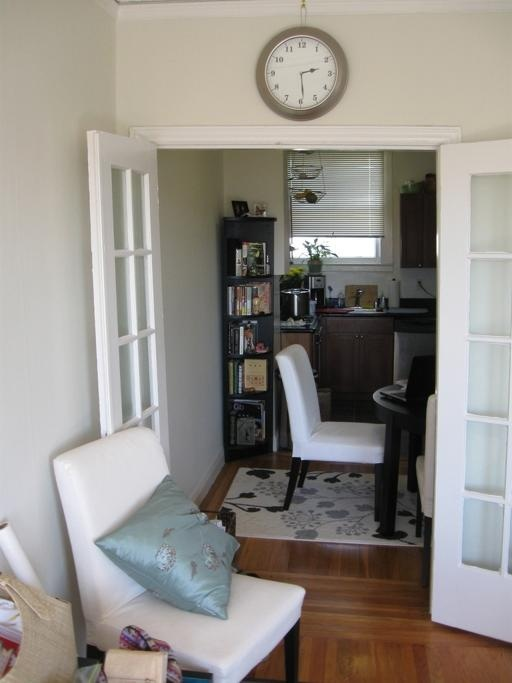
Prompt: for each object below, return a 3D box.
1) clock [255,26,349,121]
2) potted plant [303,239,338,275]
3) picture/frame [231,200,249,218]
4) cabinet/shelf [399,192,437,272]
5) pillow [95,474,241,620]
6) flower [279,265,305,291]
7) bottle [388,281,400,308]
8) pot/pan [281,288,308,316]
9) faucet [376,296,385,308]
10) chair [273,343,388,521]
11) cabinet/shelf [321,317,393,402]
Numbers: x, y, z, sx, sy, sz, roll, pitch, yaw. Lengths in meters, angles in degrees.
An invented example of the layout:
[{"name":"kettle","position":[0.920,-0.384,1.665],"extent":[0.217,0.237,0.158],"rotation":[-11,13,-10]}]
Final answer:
[{"name":"clock","position":[0.183,-1.045,2.213],"extent":[0.314,0.339,0.033],"rotation":[-2,5,8]},{"name":"potted plant","position":[0.751,-1.012,6.689],"extent":[0.381,0.411,0.384],"rotation":[1,-3,10]},{"name":"picture/frame","position":[-0.118,-1.017,4.391],"extent":[0.137,0.137,0.144],"rotation":[-2,6,-2]},{"name":"cabinet/shelf","position":[1.834,-1.210,6.509],"extent":[0.442,0.833,0.262],"rotation":[1,-2,2]},{"name":"pillow","position":[-0.241,0.601,1.685],"extent":[0.344,0.275,0.311],"rotation":[-1,6,4]},{"name":"flower","position":[0.369,-0.660,6.096],"extent":[0.239,0.207,0.383],"rotation":[-1,6,1]},{"name":"bottle","position":[1.588,-0.547,6.627],"extent":[0.125,0.291,0.084],"rotation":[-1,6,5]},{"name":"pot/pan","position":[0.371,-0.365,5.562],"extent":[0.280,0.300,0.292],"rotation":[-1,6,5]},{"name":"faucet","position":[1.428,-0.444,6.617],"extent":[0.124,0.150,0.243],"rotation":[1,7,20]},{"name":"chair","position":[0.477,0.509,3.532],"extent":[0.653,0.944,0.563],"rotation":[-1,5,8]},{"name":"cabinet/shelf","position":[1.154,0.132,6.552],"extent":[0.785,1.018,0.489],"rotation":[0,15,10]}]
